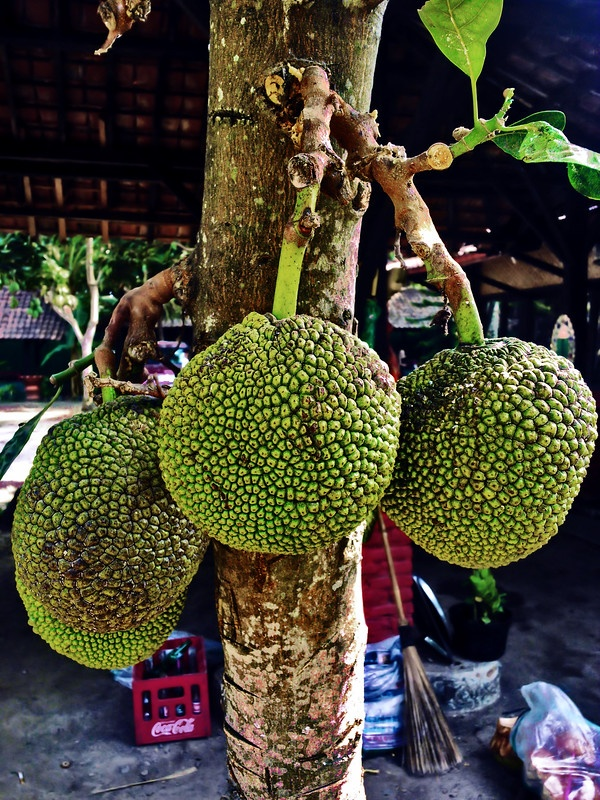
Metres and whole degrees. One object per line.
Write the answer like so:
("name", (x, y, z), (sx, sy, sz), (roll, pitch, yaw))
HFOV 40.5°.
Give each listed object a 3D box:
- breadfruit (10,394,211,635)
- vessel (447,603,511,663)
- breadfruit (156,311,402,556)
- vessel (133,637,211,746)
("breadfruit", (-0.359, 0.251, 1.783), (0.404, 0.441, 0.400), (-4, -12, -5))
("vessel", (0.916, 1.194, 4.206), (0.332, 0.213, 0.323), (-1, 5, -16))
("breadfruit", (0.010, 0.097, 1.618), (0.483, 0.424, 0.415), (-4, -17, 26))
("vessel", (-0.620, 1.457, 4.067), (0.381, 0.302, 0.519), (-3, -4, -6))
